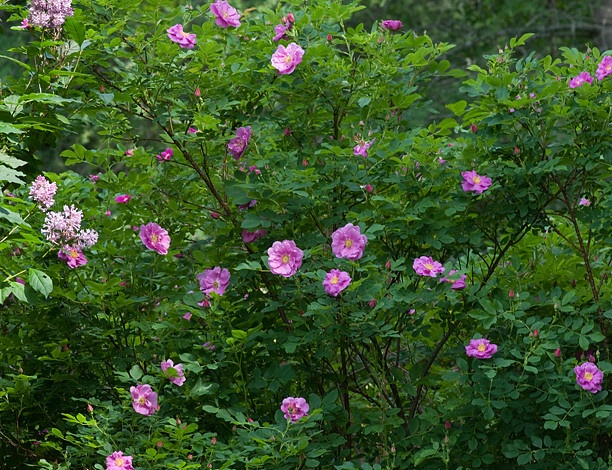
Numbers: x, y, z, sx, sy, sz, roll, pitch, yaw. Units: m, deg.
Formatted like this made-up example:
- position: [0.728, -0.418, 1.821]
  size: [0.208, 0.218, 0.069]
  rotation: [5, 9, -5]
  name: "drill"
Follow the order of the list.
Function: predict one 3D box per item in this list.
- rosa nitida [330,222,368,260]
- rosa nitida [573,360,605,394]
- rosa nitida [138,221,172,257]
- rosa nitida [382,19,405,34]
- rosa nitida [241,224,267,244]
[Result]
- position: [0.209, 0.034, 6.372]
  size: [0.207, 0.158, 0.074]
  rotation: [-6, 2, 21]
  name: "rosa nitida"
- position: [1.359, 0.686, 6.419]
  size: [0.138, 0.149, 0.122]
  rotation: [7, -35, 15]
  name: "rosa nitida"
- position: [-0.760, 0.017, 6.701]
  size: [0.170, 0.149, 0.080]
  rotation: [25, -41, -38]
  name: "rosa nitida"
- position: [0.451, -1.095, 6.897]
  size: [0.107, 0.061, 0.112]
  rotation: [6, 7, 41]
  name: "rosa nitida"
- position: [-0.276, 0.003, 6.754]
  size: [0.102, 0.059, 0.159]
  rotation: [26, -33, -17]
  name: "rosa nitida"
